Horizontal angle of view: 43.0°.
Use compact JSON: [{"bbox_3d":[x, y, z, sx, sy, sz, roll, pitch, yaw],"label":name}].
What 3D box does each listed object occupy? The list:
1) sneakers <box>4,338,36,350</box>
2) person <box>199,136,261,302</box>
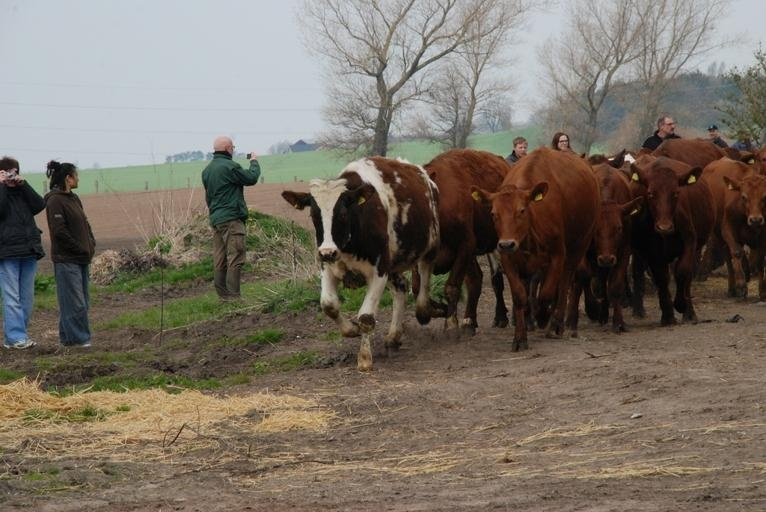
[{"bbox_3d":[-5.929,1.431,15.936,0.488,0.190,0.190,-4,-6,21],"label":"sneakers"},{"bbox_3d":[-2.935,-0.714,19.064,0.715,3.106,1.028,-14,15,-40],"label":"person"}]
